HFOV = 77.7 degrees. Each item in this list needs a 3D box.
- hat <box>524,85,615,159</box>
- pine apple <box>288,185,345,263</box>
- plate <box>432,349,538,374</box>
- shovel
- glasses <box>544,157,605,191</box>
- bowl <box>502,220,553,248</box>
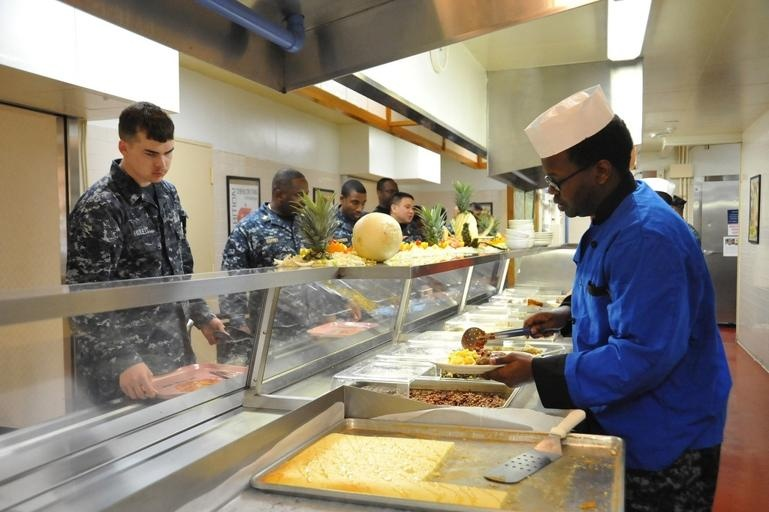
[{"bbox_3d":[0.649,-0.434,1.779,0.295,0.139,0.303,-15,16,49],"label":"hat"},{"bbox_3d":[-0.272,-0.133,2.087,0.200,0.278,0.188,-10,-6,28],"label":"pine apple"},{"bbox_3d":[0.431,0.479,2.156,0.253,0.038,0.237,-2,-6,-18],"label":"plate"},{"bbox_3d":[0.564,0.626,1.691,0.124,0.074,0.601,-1,1,35],"label":"shovel"},{"bbox_3d":[0.683,-0.280,1.729,0.116,0.034,0.107,-32,3,8],"label":"glasses"},{"bbox_3d":[1.211,-0.157,4.203,0.278,0.134,0.436,-3,-4,20],"label":"bowl"}]
